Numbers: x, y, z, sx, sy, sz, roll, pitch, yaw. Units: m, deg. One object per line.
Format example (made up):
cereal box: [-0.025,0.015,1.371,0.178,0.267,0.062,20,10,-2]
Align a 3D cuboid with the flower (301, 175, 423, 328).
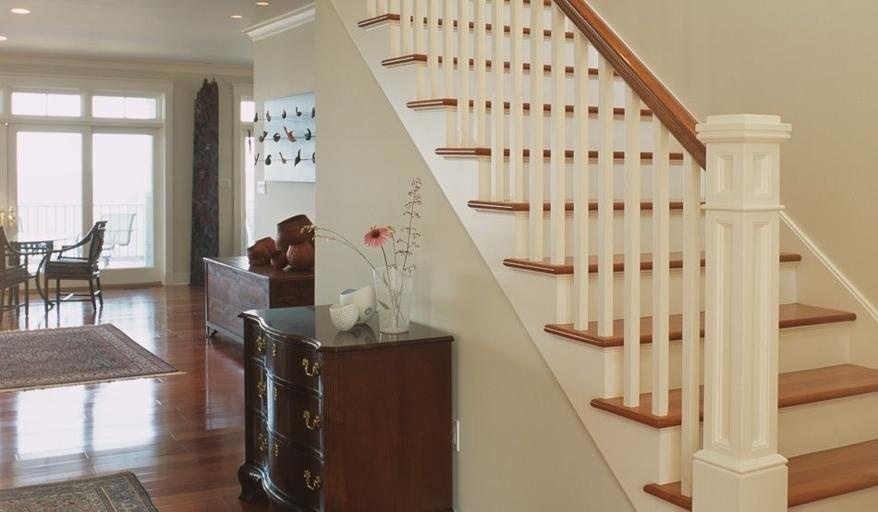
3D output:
flower: [-0.663,0.037,4.441,1.092,1.068,0.680,1,2,8]
